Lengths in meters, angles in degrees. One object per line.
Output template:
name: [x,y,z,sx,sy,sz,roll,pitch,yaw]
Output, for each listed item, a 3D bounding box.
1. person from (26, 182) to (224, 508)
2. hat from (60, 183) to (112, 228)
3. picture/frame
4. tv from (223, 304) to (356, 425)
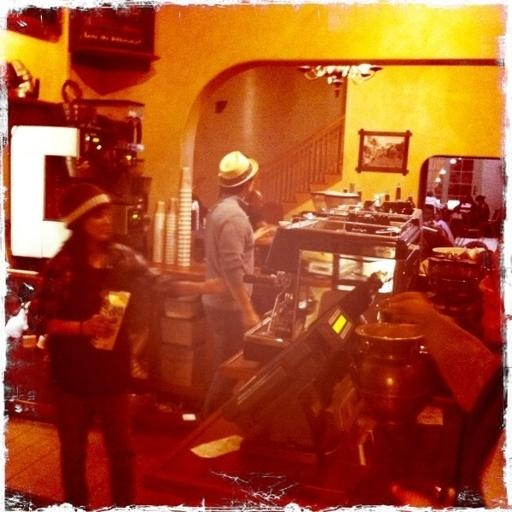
person: [-0.629,0.397,2.136,0.377,1.361,0.879,3,2,4]
hat: [-0.655,-0.207,1.862,0.156,0.135,0.151,-22,18,12]
picture/frame: [1.284,-1.036,4.704,0.432,0.424,0.017,8,6,40]
tv: [0.064,0.248,1.001,0.055,0.240,0.239,43,25,10]
